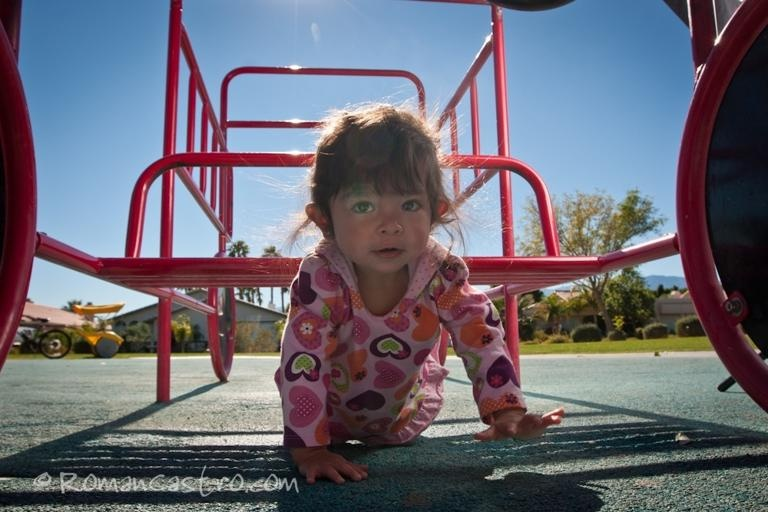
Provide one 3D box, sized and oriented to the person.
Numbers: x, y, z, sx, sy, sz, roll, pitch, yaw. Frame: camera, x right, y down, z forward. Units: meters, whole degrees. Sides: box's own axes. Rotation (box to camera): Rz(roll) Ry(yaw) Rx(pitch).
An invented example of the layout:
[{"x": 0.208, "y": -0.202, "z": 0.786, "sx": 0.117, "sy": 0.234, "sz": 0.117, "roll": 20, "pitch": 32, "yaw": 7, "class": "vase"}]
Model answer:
[{"x": -0.012, "y": 0.108, "z": 1.433, "sx": 0.591, "sy": 0.846, "sz": 0.829, "roll": -1, "pitch": -3, "yaw": -17, "class": "person"}]
